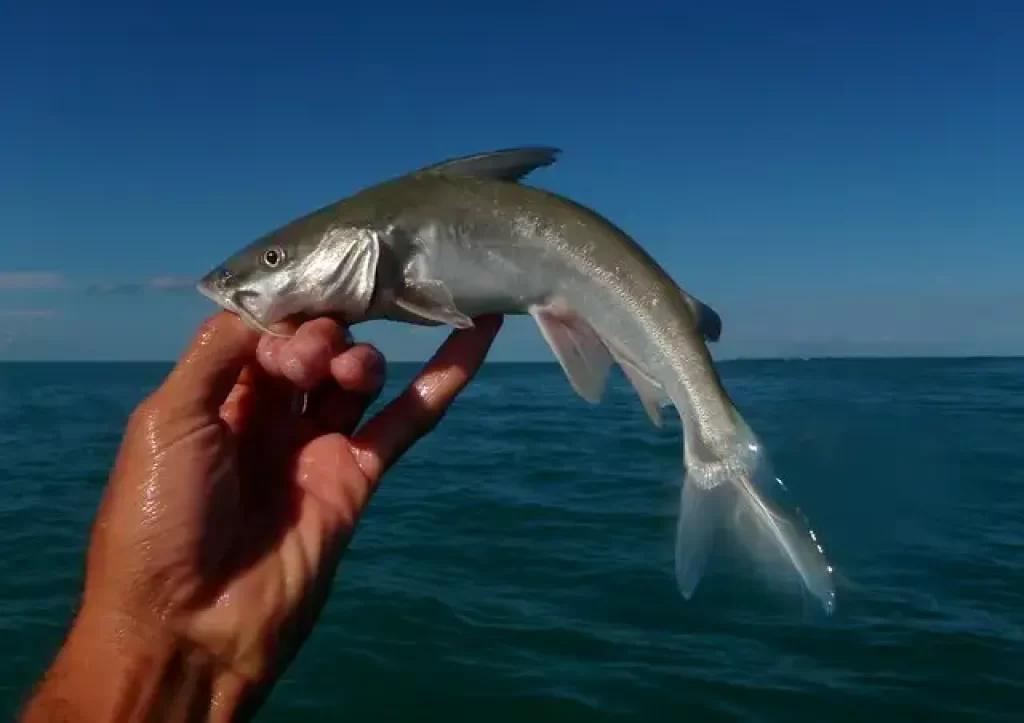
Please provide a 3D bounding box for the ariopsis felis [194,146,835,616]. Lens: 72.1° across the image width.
[{"bbox_3d":[0.065,-0.030,4.219,3.289,2.544,0.615,0,5,2],"label":"ariopsis felis"}]
